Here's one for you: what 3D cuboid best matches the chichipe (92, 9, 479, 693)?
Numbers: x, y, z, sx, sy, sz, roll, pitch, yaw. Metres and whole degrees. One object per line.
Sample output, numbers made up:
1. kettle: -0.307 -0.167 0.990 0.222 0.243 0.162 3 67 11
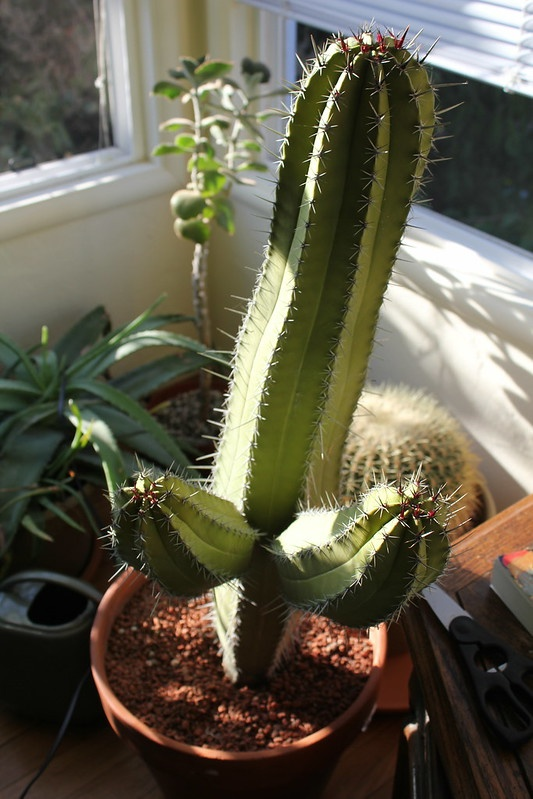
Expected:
1. chichipe: 0.028 0.026 0.534 0.234 0.543 0.337 1 46 1
